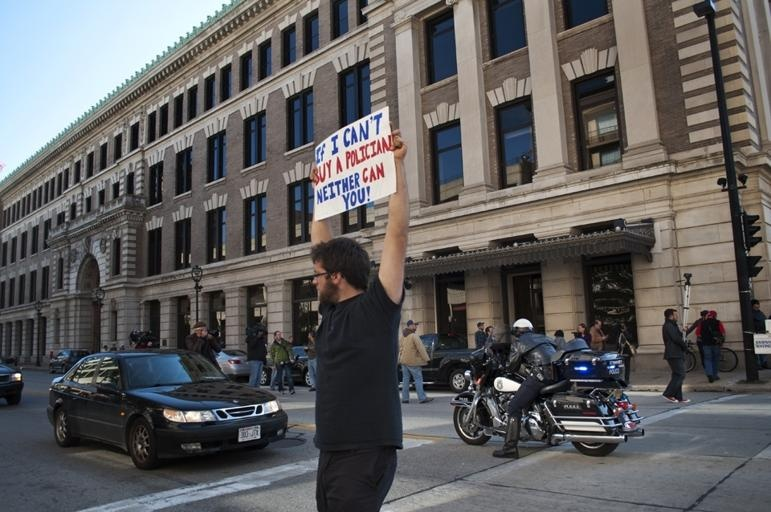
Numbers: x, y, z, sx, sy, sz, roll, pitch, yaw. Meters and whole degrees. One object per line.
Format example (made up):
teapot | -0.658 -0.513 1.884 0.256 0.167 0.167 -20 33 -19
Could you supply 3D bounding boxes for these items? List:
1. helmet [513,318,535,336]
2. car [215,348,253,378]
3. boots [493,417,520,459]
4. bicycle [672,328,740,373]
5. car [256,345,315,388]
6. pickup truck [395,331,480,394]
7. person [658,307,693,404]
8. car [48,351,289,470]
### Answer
helmet | 3.120 1.604 16.471 0.399 0.375 0.463 3 1 -8
car | -6.139 4.392 29.582 1.297 0.997 3.055 1 -2 -37
boots | 2.683 4.017 15.982 0.618 0.919 0.270 -4 -11 7
bicycle | 11.334 3.351 25.151 2.608 1.535 1.296 -5 -11 25
car | -4.072 4.540 29.791 2.695 1.136 1.452 -4 -13 22
pickup truck | 1.699 3.764 25.595 2.958 1.374 1.674 -5 -11 30
person | 8.264 2.847 20.709 0.723 2.659 0.928 -7 -12 22
car | -5.292 3.583 17.265 5.504 2.744 2.029 -9 -12 27
